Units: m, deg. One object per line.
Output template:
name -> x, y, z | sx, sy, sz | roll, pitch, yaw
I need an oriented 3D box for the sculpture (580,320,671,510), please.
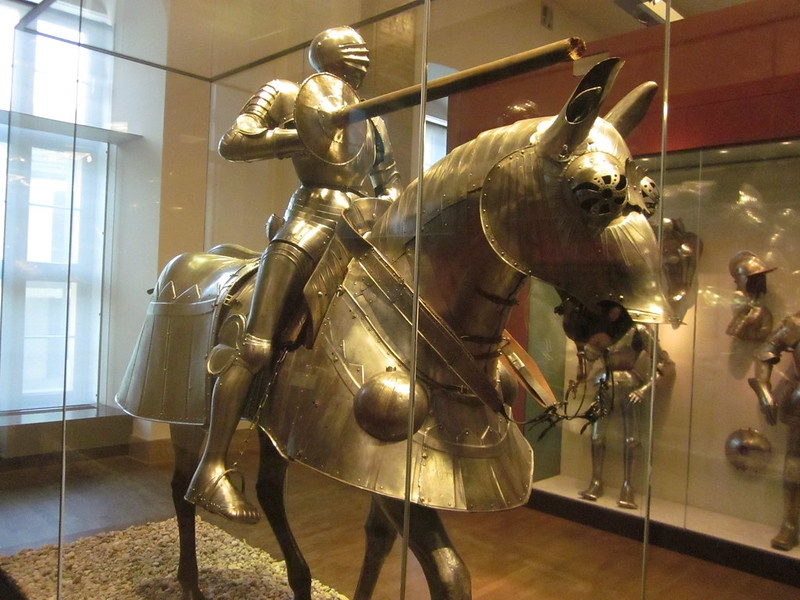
sculpture -> 0.736, 0.314, 2.483 | 0.282, 0.772, 0.232 | 3, 10, 15

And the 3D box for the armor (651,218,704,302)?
armor -> 0.986, -0.166, 2.780 | 0.217, 0.333, 0.136 | 3, 0, -41

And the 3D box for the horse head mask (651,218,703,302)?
horse head mask -> 0.981, -0.145, 2.772 | 0.217, 0.333, 0.138 | 4, 0, -40

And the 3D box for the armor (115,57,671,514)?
armor -> -0.135, -0.062, 2.848 | 2.023, 1.467, 0.827 | 7, -3, 30
